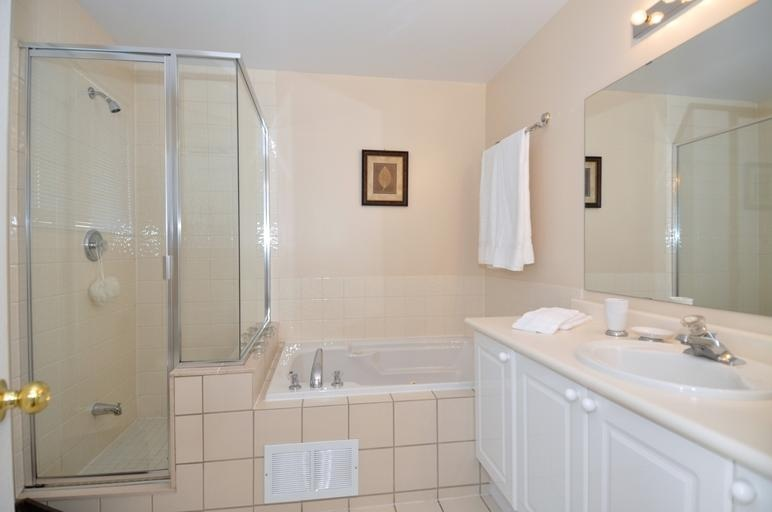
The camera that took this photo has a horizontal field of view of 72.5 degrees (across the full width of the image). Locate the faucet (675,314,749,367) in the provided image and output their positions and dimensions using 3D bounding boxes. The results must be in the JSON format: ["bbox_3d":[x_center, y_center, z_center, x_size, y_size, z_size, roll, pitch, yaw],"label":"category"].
[{"bbox_3d":[1.460,0.384,2.403,0.181,0.116,0.207,-13,8,-4],"label":"faucet"}]

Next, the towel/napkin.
[{"bbox_3d":[0.838,-0.400,3.775,0.155,0.938,0.621,-2,5,-15],"label":"towel/napkin"}]

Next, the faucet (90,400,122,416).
[{"bbox_3d":[-1.665,0.894,3.119,0.130,0.082,0.068,-1,-31,-26],"label":"faucet"}]

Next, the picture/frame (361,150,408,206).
[{"bbox_3d":[-0.030,-0.635,4.224,0.421,0.501,0.035,1,3,-5],"label":"picture/frame"}]
